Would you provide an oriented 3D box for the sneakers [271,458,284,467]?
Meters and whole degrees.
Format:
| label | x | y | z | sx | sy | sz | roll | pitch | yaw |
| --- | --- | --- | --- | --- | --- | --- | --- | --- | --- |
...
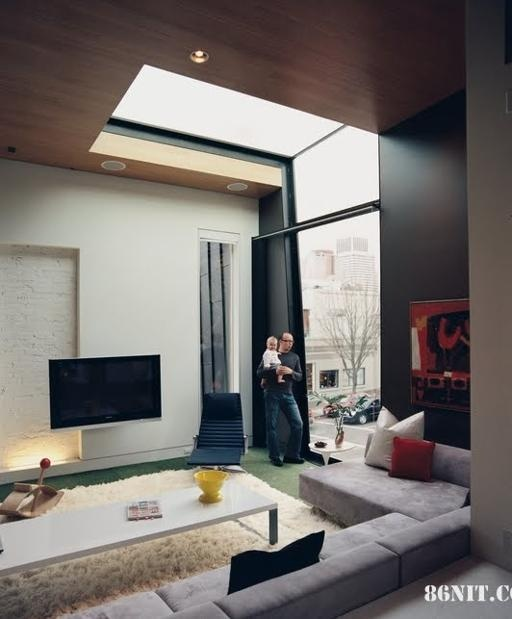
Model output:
| label | x | y | z | sx | sy | sz | roll | pitch | yaw |
| --- | --- | --- | --- | --- | --- | --- | --- | --- | --- |
| sneakers | 0.228 | 1.616 | 5.123 | 0.049 | 0.054 | 0.130 | 2 | -5 | -29 |

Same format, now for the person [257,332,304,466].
| label | x | y | z | sx | sy | sz | roll | pitch | yaw |
| --- | --- | --- | --- | --- | --- | --- | --- | --- | --- |
| person | 0.270 | 0.951 | 5.274 | 0.504 | 1.370 | 0.350 | 1 | -3 | 1 |

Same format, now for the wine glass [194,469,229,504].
| label | x | y | z | sx | sy | sz | roll | pitch | yaw |
| --- | --- | --- | --- | --- | --- | --- | --- | --- | --- |
| wine glass | -0.298 | 1.143 | 3.199 | 0.215 | 0.145 | 0.210 | 1 | -9 | -7 |

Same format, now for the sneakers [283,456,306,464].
| label | x | y | z | sx | sy | sz | roll | pitch | yaw |
| --- | --- | --- | --- | --- | --- | --- | --- | --- | --- |
| sneakers | 0.412 | 1.602 | 5.205 | 0.248 | 0.100 | 0.081 | 0 | -2 | 4 |

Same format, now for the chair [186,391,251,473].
| label | x | y | z | sx | sy | sz | roll | pitch | yaw |
| --- | --- | --- | --- | --- | --- | --- | --- | --- | --- |
| chair | -0.359 | 1.152 | 4.697 | 0.484 | 0.700 | 0.732 | -1 | -11 | 3 |

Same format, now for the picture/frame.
| label | x | y | z | sx | sy | sz | roll | pitch | yaw |
| --- | --- | --- | --- | --- | --- | --- | --- | --- | --- |
| picture/frame | 1.380 | 0.344 | 3.654 | 0.073 | 0.826 | 0.552 | 2 | -3 | -24 |

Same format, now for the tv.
| label | x | y | z | sx | sy | sz | roll | pitch | yaw |
| --- | --- | --- | --- | --- | --- | --- | --- | --- | --- |
| tv | -1.541 | 0.814 | 4.833 | 0.838 | 0.531 | 0.059 | -2 | -1 | -28 |

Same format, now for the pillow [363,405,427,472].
| label | x | y | z | sx | sy | sz | roll | pitch | yaw |
| --- | --- | --- | --- | --- | --- | --- | --- | --- | --- |
| pillow | 1.052 | 0.965 | 3.616 | 0.262 | 0.438 | 0.491 | 18 | -21 | -29 |

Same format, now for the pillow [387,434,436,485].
| label | x | y | z | sx | sy | sz | roll | pitch | yaw |
| --- | --- | --- | --- | --- | --- | --- | --- | --- | --- |
| pillow | 1.083 | 1.052 | 3.377 | 0.102 | 0.266 | 0.274 | 31 | -23 | -37 |
